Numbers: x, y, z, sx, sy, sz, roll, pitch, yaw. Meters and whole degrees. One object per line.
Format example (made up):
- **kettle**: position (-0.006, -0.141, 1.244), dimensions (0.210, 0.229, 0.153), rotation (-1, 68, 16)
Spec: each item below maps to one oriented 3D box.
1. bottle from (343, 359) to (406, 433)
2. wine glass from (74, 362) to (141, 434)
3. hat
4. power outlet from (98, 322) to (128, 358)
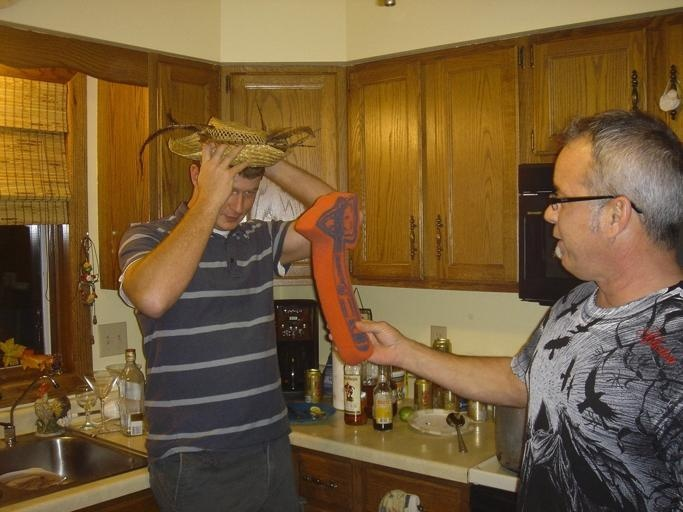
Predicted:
- **bottle**: position (0.117, 0.590, 2.698), dimensions (0.318, 0.345, 0.250), rotation (-2, -2, 30)
- **wine glass**: position (-0.958, 0.603, 2.686), dimensions (0.291, 0.208, 0.302), rotation (0, 0, 22)
- **hat**: position (-0.313, -0.350, 1.881), dimensions (0.388, 0.155, 0.158), rotation (7, -21, -11)
- **power outlet**: position (-1.086, 0.392, 2.929), dimensions (0.171, 0.187, 0.021), rotation (-4, 7, -34)
